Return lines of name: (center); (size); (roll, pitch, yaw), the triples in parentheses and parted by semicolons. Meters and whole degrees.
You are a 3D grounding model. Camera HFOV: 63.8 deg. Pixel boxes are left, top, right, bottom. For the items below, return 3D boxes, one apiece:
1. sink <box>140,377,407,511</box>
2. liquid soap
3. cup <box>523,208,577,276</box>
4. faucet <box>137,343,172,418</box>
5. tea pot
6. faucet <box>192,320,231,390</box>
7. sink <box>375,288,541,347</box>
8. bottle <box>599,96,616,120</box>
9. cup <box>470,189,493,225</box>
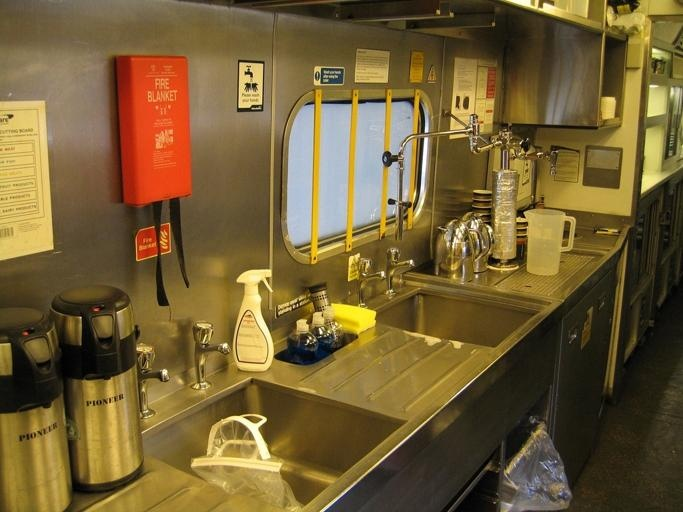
sink: (-0.234, 0.470, 1.592); (0.425, 0.280, 0.438); (15, 21, 35)
liquid soap: (-0.295, 0.207, 1.808); (0.149, 0.336, 0.151); (-4, 15, -2)
cup: (1.070, -0.070, 2.899); (0.183, 0.311, 0.210); (-1, 15, 8)
faucet: (-0.525, 0.339, 1.526); (0.086, 0.214, 0.191); (-9, 16, -19)
tea pot: (0.666, -0.048, 2.725); (0.352, 0.373, 0.214); (-9, 16, -33)
faucet: (-0.409, 0.295, 1.676); (0.117, 0.217, 0.195); (-8, 16, -17)
sink: (0.544, 0.287, 2.559); (0.517, 0.298, 0.364); (12, 9, 37)
bottle: (1.613, -0.900, 3.347); (0.048, 0.136, 0.268); (7, 18, 35)
cup: (0.789, -0.278, 3.072); (0.164, 0.198, 0.170); (0, 13, 0)
